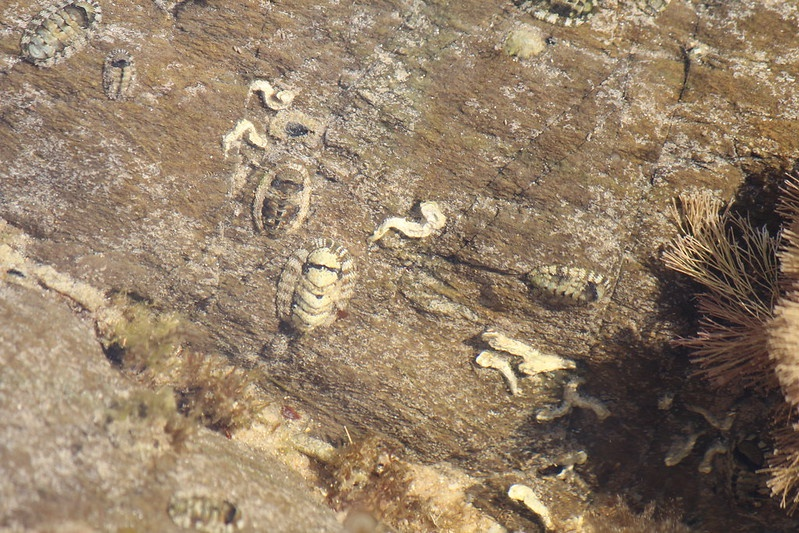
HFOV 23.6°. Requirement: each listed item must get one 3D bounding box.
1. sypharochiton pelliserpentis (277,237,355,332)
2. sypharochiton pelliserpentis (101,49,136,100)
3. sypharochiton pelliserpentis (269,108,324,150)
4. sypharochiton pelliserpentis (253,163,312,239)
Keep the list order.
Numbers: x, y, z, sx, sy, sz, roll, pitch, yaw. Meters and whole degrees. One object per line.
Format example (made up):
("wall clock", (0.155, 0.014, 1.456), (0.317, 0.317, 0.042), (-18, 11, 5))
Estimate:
("sypharochiton pelliserpentis", (-0.884, 0.205, 20.080), (0.760, 0.903, 0.501), (26, 42, -2))
("sypharochiton pelliserpentis", (-2.914, -1.961, 19.959), (0.323, 0.452, 0.115), (2, 8, 1))
("sypharochiton pelliserpentis", (-1.055, -1.425, 19.910), (0.554, 0.345, 0.143), (17, 13, 3))
("sypharochiton pelliserpentis", (-1.218, -0.693, 19.960), (0.602, 0.739, 0.289), (29, 12, 6))
